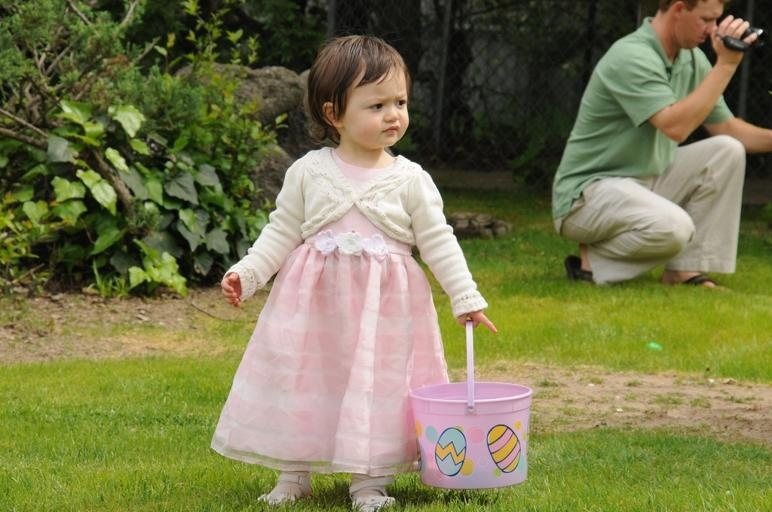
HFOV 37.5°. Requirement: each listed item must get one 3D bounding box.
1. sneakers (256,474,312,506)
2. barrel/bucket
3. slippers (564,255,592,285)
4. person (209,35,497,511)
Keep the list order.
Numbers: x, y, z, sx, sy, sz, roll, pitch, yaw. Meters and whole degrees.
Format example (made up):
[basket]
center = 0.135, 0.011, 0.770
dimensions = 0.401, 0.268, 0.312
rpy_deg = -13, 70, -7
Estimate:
[sneakers]
center = -0.502, 1.188, 5.636
dimensions = 0.254, 0.161, 0.119
rpy_deg = 1, -5, -13
[barrel/bucket]
center = 0.344, 0.780, 5.998
dimensions = 0.828, 0.914, 0.790
rpy_deg = -1, 0, 0
[slippers]
center = 1.396, 0.122, 8.236
dimensions = 0.073, 0.104, 0.259
rpy_deg = -26, 41, 9
[person]
center = -0.235, 0.073, 5.720
dimensions = 1.203, 2.327, 0.812
rpy_deg = -8, 12, -29
